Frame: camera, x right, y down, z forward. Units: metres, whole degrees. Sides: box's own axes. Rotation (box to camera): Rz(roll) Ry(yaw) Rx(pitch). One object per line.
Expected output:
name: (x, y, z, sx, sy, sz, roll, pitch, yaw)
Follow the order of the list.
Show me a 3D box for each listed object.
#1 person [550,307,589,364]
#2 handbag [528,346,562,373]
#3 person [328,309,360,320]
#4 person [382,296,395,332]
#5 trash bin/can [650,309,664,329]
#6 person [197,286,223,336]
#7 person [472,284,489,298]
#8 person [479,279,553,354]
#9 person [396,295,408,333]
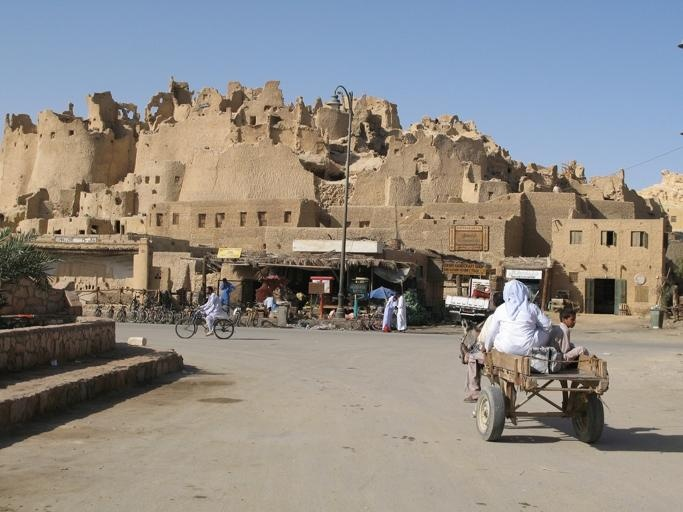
person: (2.963, 1.087, 9.509, 0.483, 0.818, 0.413, -3, 17, 25)
handbag: (2.460, 1.264, 8.867, 0.279, 0.174, 0.374, 0, -5, -2)
person: (0.100, 2.234, 28.180, 1.182, 0.314, 2.601, 1, 0, 1)
person: (1.689, 2.061, 26.288, 0.463, 1.268, 1.244, 1, 0, 3)
trash bin/can: (11.968, 2.397, 27.973, 0.429, 0.756, 0.622, 1, 1, 20)
person: (-3.696, 1.582, 21.164, 0.556, 1.424, 2.288, 1, 0, -11)
person: (5.302, 1.383, 27.785, 0.517, 0.399, 0.900, 2, 3, 19)
person: (2.317, 0.925, 9.486, 0.887, 1.181, 0.786, -11, 10, -33)
person: (2.102, 2.062, 25.915, 0.294, 1.255, 0.754, 1, 1, 2)
